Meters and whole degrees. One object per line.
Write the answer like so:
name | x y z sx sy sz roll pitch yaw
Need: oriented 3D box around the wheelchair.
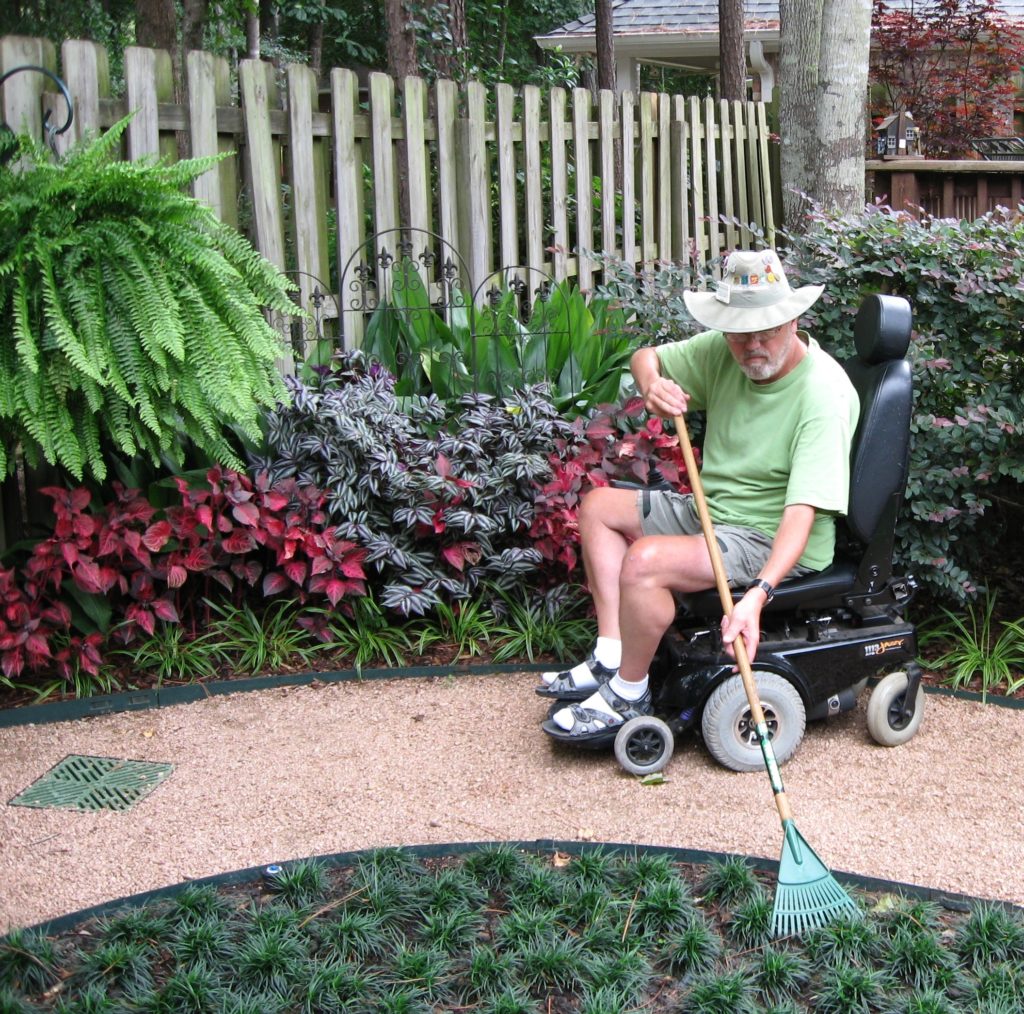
wheelchair | 0.798 0.085 3.515 1.431 1.249 0.661 -7 10 -35

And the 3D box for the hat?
hat | 0.740 -0.617 3.459 0.341 0.137 0.313 0 -3 -37

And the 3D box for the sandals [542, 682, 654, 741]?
sandals | 0.247 0.600 3.488 0.311 0.181 0.127 0 11 0

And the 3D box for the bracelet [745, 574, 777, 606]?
bracelet | 0.666 0.221 3.215 0.053 0.067 0.113 4 12 20

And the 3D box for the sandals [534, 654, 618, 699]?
sandals | 0.199 0.520 3.663 0.279 0.120 0.102 -2 3 6
